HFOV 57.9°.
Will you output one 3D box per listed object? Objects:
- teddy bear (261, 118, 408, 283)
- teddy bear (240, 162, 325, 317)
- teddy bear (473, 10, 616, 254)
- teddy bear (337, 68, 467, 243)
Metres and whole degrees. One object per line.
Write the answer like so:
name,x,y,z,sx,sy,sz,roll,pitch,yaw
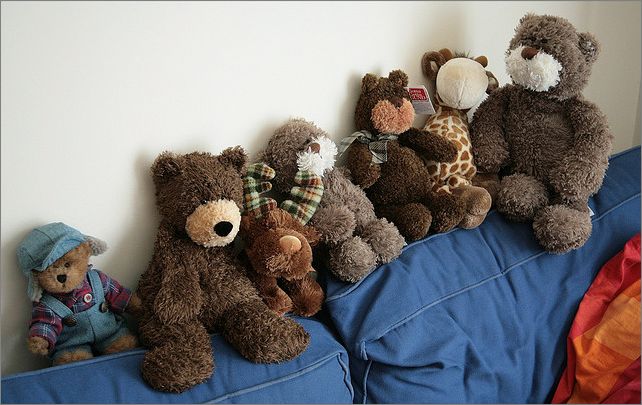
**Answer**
teddy bear,-0.029,0.039,2.114,0.626,0.226,0.414,59,24,9
teddy bear,-0.133,0.128,1.956,0.300,0.488,0.238,3,9,5
teddy bear,0.850,-0.282,2.160,0.383,0.796,0.566,-21,36,-16
teddy bear,0.304,-0.169,2.108,0.441,0.579,0.399,1,20,10
